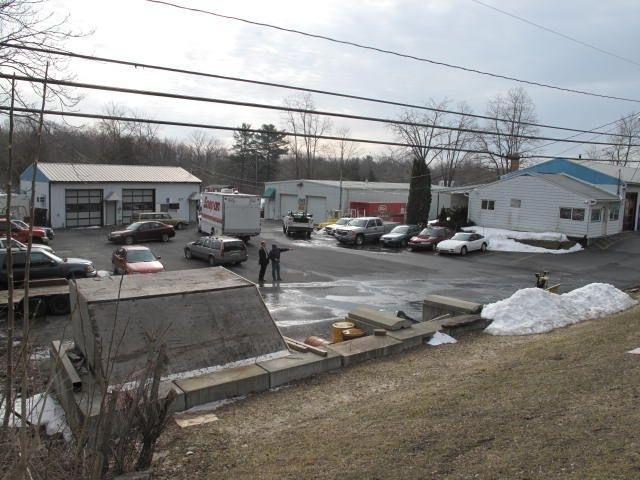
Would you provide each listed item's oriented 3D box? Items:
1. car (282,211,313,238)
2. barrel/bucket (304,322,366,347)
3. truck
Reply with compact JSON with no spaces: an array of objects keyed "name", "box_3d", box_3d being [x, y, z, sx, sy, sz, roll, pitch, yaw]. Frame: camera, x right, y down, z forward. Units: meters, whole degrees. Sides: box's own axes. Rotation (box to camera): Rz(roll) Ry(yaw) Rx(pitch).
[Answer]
[{"name":"car","box_3d":[-2.078,-1.312,40.797,1.946,1.275,3.065,1,8,-11]},{"name":"barrel/bucket","box_3d":[0.369,2.571,12.698,1.074,0.352,0.764,-5,5,-26]},{"name":"truck","box_3d":[-6.394,-2.018,34.642,3.208,2.920,5.435,-1,9,-25]}]
